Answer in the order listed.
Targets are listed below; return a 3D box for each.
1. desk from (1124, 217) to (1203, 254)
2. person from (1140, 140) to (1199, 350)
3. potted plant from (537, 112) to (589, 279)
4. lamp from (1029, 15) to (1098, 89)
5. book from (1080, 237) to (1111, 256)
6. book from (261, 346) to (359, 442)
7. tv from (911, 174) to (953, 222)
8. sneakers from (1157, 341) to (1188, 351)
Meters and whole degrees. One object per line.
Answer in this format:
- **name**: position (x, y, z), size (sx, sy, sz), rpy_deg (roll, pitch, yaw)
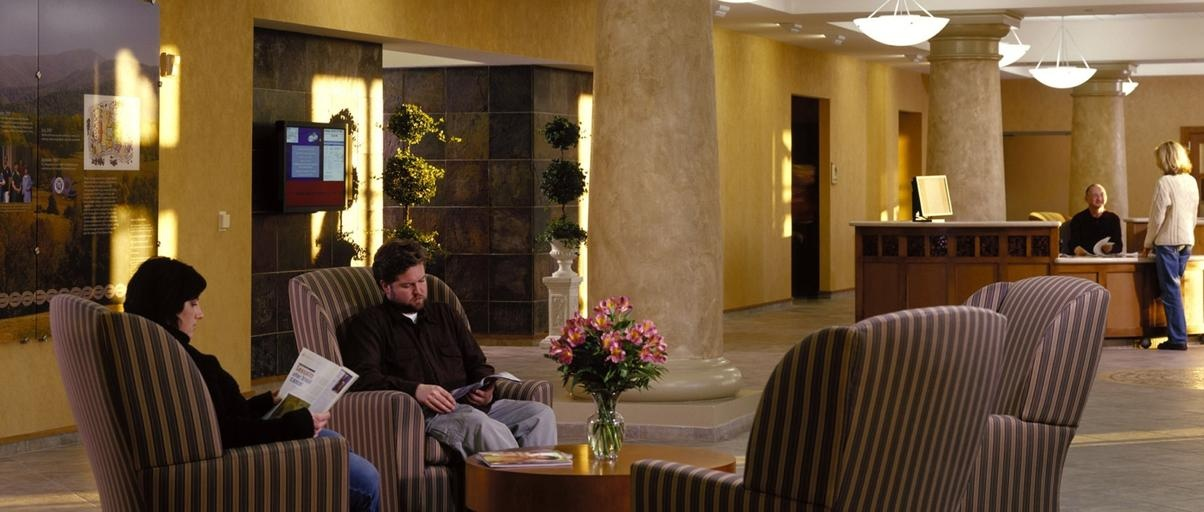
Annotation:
- **desk**: position (9.244, -0.326, 14.067), size (0.801, 0.646, 0.476), rpy_deg (-4, -5, 35)
- **person**: position (8.783, -0.122, 13.318), size (0.676, 3.201, 0.647), rpy_deg (0, 2, 9)
- **potted plant**: position (-0.612, -0.933, 13.757), size (0.894, 2.364, 0.798), rpy_deg (-2, 6, -16)
- **lamp**: position (9.741, -4.295, 18.180), size (0.959, 1.754, 2.881), rpy_deg (1, 1, 28)
- **book**: position (7.897, -0.145, 13.691), size (0.438, 0.174, 0.306), rpy_deg (1, 0, 4)
- **book**: position (-2.299, 1.052, 6.720), size (0.588, 0.713, 0.223), rpy_deg (34, 1, -3)
- **tv**: position (5.275, -0.920, 13.734), size (0.617, 0.706, 0.246), rpy_deg (0, 2, -12)
- **sneakers**: position (9.005, 1.427, 13.556), size (0.458, 0.166, 0.172), rpy_deg (3, 4, 28)
